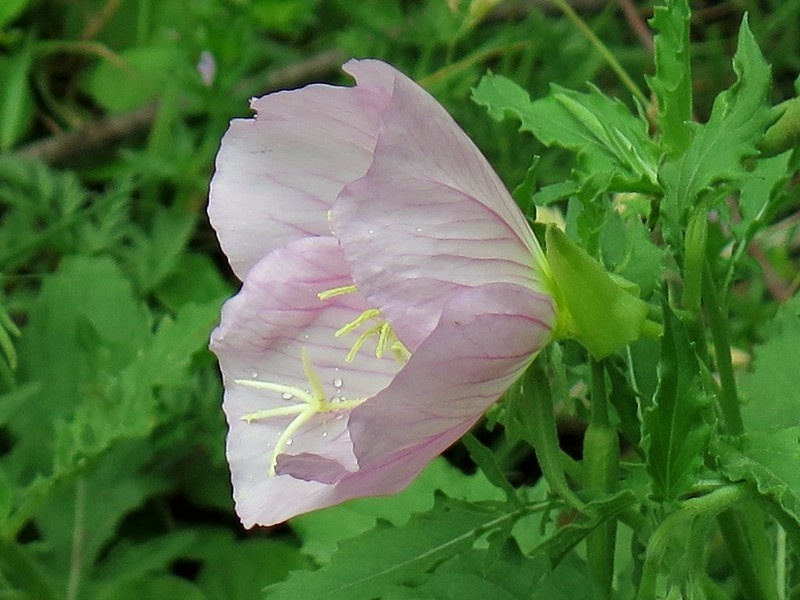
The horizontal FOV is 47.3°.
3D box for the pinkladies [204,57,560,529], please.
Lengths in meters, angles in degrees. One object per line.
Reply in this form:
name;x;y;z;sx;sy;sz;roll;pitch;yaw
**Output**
pinkladies;0.062;-0.032;0.759;0.144;0.314;0.338;-4;7;4
